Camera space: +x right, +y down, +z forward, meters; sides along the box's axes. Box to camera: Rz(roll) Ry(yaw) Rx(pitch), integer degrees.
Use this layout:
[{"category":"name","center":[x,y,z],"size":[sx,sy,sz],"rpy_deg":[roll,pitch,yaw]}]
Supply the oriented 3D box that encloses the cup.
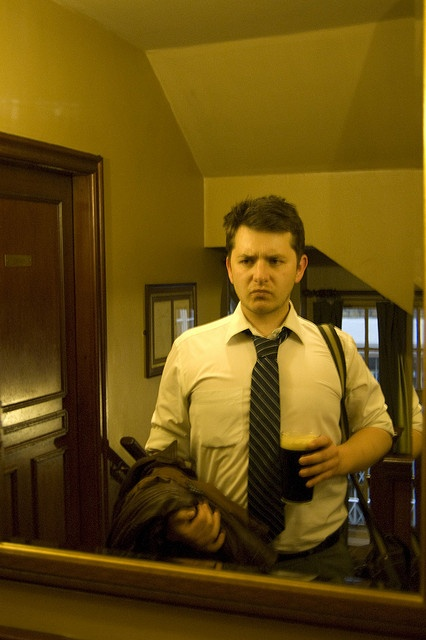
[{"category":"cup","center":[0.122,0.222,0.755],"size":[0.047,0.106,0.049],"rpy_deg":[-1,-1,0]}]
